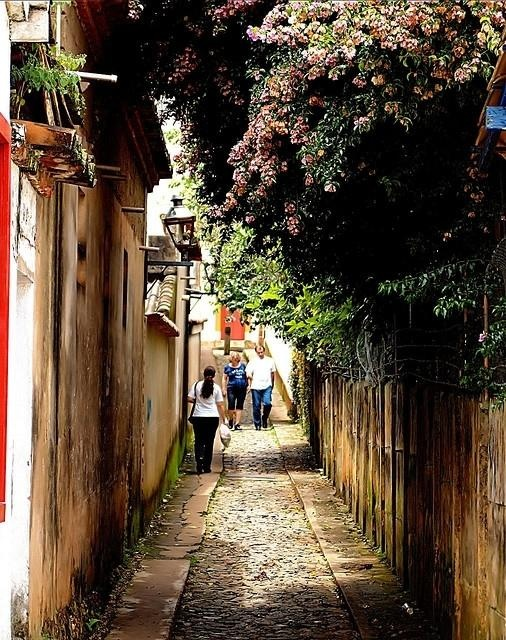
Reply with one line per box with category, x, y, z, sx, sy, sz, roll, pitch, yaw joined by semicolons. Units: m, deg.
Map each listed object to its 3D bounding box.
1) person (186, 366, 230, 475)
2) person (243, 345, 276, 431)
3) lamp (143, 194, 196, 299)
person;-0.814;1.748;14.568;0.594;1.756;1.197;1;-1;-4
person;0.155;1.646;20.738;0.635;1.861;2.297;1;-1;0
lamp;-1.133;-1.075;11.761;0.493;1.465;2.050;2;8;-4
